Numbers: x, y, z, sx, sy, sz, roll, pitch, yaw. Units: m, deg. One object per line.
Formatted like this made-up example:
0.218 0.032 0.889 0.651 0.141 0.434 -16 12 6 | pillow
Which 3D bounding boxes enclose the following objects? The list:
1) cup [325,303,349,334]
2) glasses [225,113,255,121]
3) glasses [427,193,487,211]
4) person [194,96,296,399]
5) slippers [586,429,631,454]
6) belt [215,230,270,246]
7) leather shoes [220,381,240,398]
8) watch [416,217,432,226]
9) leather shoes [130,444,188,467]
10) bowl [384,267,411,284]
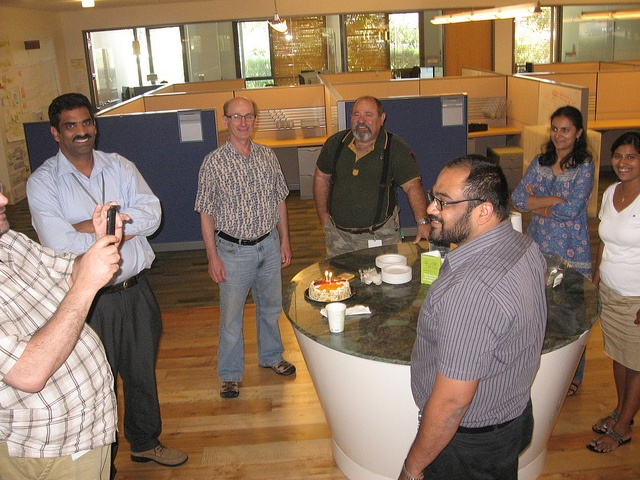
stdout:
0.081 0.381 2.611 0.130 0.126 0.127 -1 10 0 | cup
-0.544 -0.845 3.617 0.209 0.051 0.119 -10 17 -16 | glasses
0.513 -0.145 2.018 0.111 0.030 0.111 -5 22 -1 | glasses
-0.538 0.074 3.723 0.652 2.068 0.318 -11 17 -19 | person
1.708 1.200 3.188 0.305 0.118 0.107 -10 24 6 | slippers
-0.535 -0.019 3.681 0.361 0.118 0.096 -6 16 -6 | belt
-0.655 1.080 3.811 0.082 0.058 0.146 1 6 -4 | leather shoes
0.710 -0.133 3.606 0.067 0.069 0.072 -19 6 13 | watch
-0.972 1.330 3.271 0.360 0.147 0.132 1 18 -6 | leather shoes
0.445 0.200 3.043 0.112 0.043 0.113 -2 20 1 | bowl
